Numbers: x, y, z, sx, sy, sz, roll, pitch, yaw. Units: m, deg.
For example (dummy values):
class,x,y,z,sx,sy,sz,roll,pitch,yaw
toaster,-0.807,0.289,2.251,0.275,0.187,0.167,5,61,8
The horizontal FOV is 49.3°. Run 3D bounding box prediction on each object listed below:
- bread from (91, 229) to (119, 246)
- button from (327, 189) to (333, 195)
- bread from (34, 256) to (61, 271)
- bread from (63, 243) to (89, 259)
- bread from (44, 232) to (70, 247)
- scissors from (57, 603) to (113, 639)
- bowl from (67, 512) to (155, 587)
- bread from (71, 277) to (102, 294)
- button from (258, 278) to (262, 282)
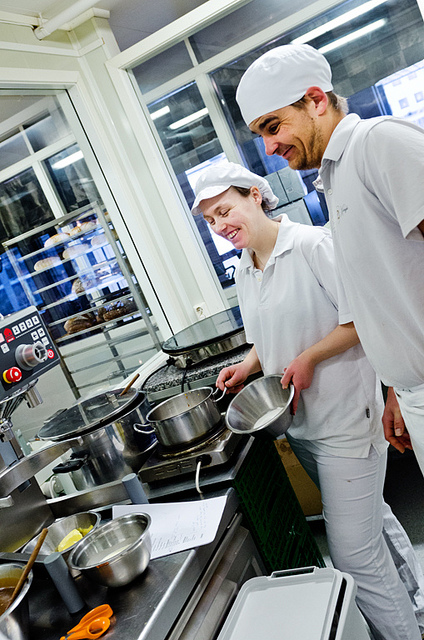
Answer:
class,x,y,z,sx,sy,sz,roll,pitch,yaw
bread,-0.576,-0.428,2.480,0.096,0.103,0.109,-5,-8,6
button,0.236,-0.256,0.926,0.009,0.009,0.002,2,2,43
bread,-0.779,-0.269,2.175,0.017,0.039,0.200,-29,9,22
bread,-0.716,-0.349,2.363,0.018,0.070,0.211,-2,6,32
bread,-0.750,-0.375,2.258,0.078,0.019,0.085,-7,21,47
scissors,-0.231,0.556,0.849,0.103,0.015,0.056,-30,8,24
bowl,-0.192,0.500,0.983,0.187,0.077,0.179,-20,0,0
bread,-0.644,-0.174,2.355,0.062,0.025,0.105,-5,24,25
button,0.142,-0.120,1.392,0.015,0.010,0.014,1,5,4
